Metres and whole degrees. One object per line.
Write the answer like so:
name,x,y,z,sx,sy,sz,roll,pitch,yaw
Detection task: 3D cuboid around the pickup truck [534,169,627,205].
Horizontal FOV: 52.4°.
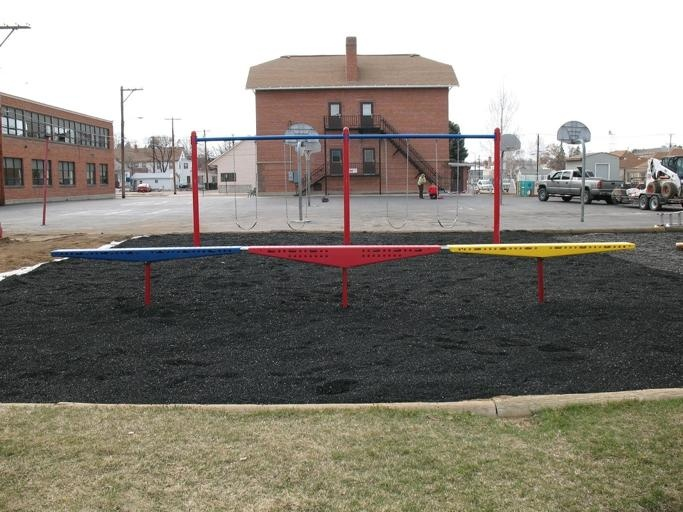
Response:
pickup truck,11.248,-3.236,32.737,2.227,1.493,3.999,-3,9,-21
